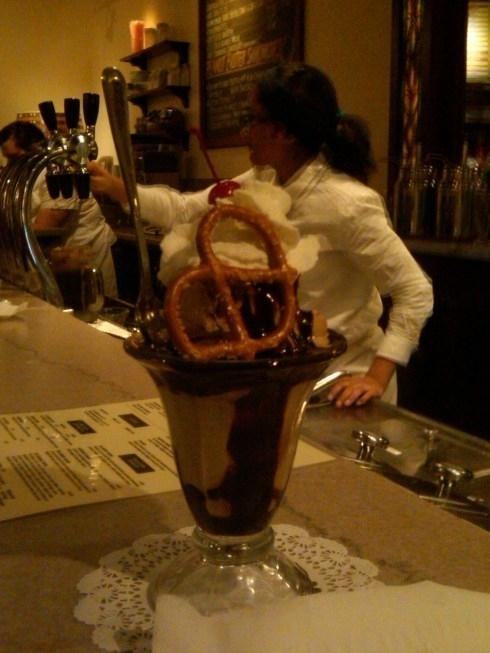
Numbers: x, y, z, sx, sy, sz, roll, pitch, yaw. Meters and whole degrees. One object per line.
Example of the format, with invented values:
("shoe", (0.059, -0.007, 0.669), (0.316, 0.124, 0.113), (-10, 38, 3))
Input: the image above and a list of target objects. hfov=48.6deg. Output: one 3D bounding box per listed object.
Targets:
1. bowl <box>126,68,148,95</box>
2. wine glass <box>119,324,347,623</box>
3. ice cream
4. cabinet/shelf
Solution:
("bowl", (-1.251, -2.824, 6.333), (0.317, 0.157, 0.305), (0, 7, 0))
("wine glass", (0.022, 0.084, 0.474), (0.178, 0.227, 0.193), (-7, 9, -38))
("ice cream", (-0.006, 0.029, 0.412), (0.170, 0.263, 0.171), (0, 3, 14))
("cabinet/shelf", (-0.988, -2.729, 5.987), (0.312, 0.549, 1.038), (-12, 19, -37))
